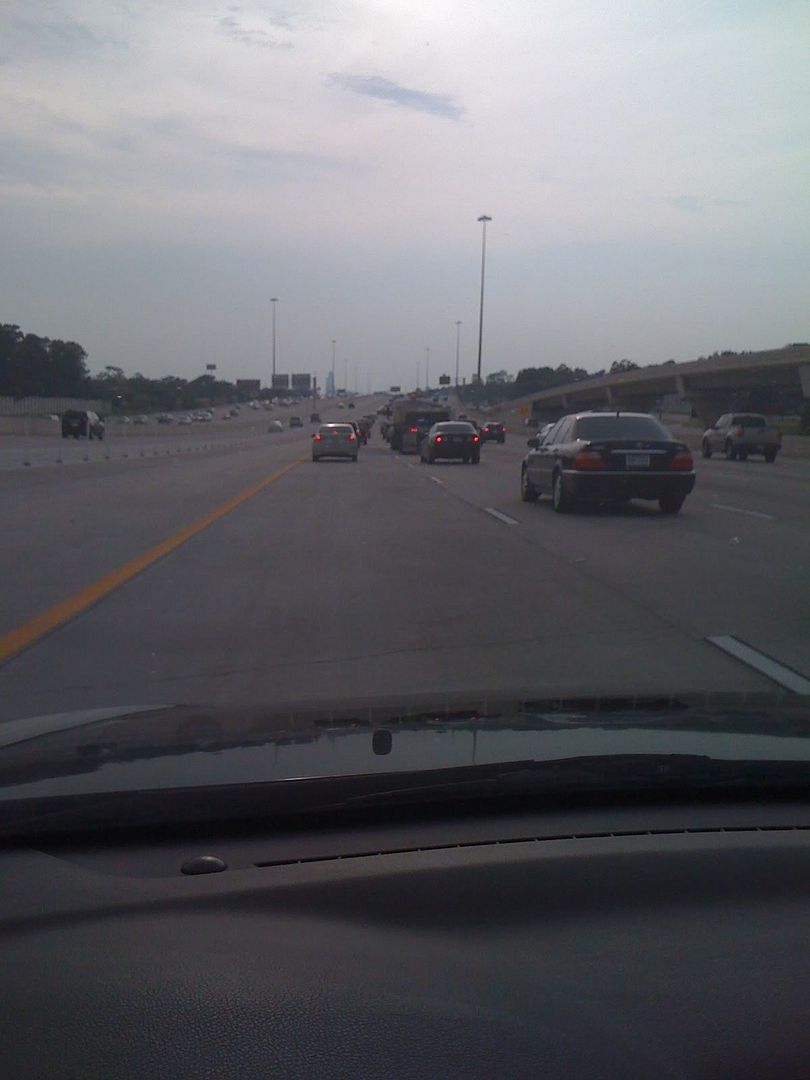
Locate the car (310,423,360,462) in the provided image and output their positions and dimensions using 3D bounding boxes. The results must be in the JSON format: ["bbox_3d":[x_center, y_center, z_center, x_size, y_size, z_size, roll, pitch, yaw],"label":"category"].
[{"bbox_3d":[-3.531,-4.933,42.335,2.115,1.974,2.848,1,3,-1],"label":"car"}]

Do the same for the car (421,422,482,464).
[{"bbox_3d":[2.159,-4.763,40.932,2.701,2.196,2.648,1,3,1],"label":"car"}]

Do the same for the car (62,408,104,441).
[{"bbox_3d":[-27.176,-9.653,70.835,2.118,2.247,4.007,0,15,-5],"label":"car"}]

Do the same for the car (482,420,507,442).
[{"bbox_3d":[7.799,-9.478,74.278,1.641,2.010,2.825,0,3,-19],"label":"car"}]

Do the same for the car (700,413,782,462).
[{"bbox_3d":[18.429,-5.652,46.453,2.348,2.846,4.378,0,3,-11],"label":"car"}]

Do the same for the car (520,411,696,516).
[{"bbox_3d":[4.045,-1.724,18.968,1.837,1.600,4.227,-1,11,-5],"label":"car"}]
